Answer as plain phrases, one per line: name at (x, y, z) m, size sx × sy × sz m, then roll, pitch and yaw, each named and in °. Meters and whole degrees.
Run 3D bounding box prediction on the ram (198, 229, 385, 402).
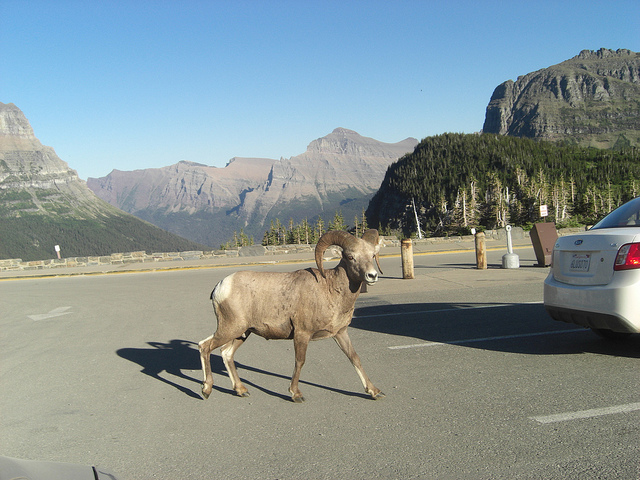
ram at (-0.341, 1.027, 6.354) m, size 2.438 × 2.501 × 1.065 m, roll 1°, pitch 9°, yaw 16°
